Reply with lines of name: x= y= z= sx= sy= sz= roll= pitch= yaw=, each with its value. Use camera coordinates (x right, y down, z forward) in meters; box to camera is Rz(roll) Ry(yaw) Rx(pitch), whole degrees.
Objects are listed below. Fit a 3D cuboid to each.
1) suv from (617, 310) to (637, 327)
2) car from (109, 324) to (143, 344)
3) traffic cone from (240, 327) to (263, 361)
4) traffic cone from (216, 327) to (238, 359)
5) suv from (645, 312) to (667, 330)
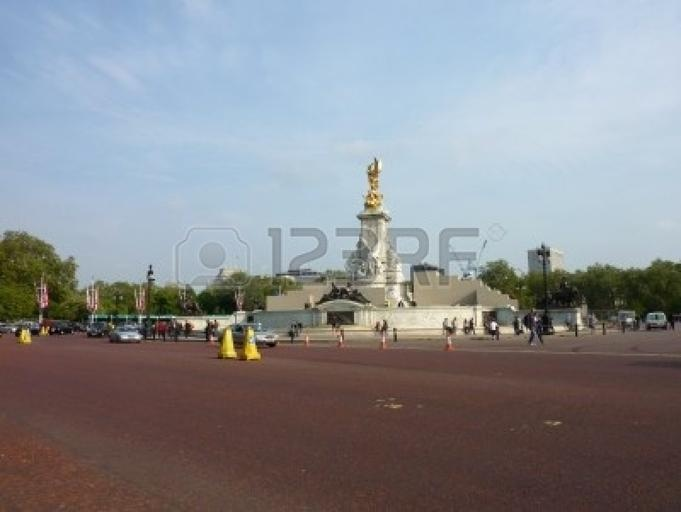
suv: x=36.001 y=7.891 z=92.204 sx=2.735 sy=2.930 sz=1.584 roll=0 pitch=3 yaw=4
car: x=-15.282 y=5.537 z=51.601 sx=1.518 sy=0.930 sz=2.971 roll=2 pitch=0 yaw=-25
traffic cone: x=-3.456 y=3.354 z=27.930 sx=0.848 sy=1.277 sz=0.905 roll=-2 pitch=-3 yaw=20
traffic cone: x=-4.461 y=3.484 z=29.041 sx=0.848 sy=1.217 sz=0.844 roll=-4 pitch=-9 yaw=19
suv: x=36.172 y=7.483 z=84.047 sx=2.110 sy=1.771 sz=3.015 roll=-3 pitch=-4 yaw=19
